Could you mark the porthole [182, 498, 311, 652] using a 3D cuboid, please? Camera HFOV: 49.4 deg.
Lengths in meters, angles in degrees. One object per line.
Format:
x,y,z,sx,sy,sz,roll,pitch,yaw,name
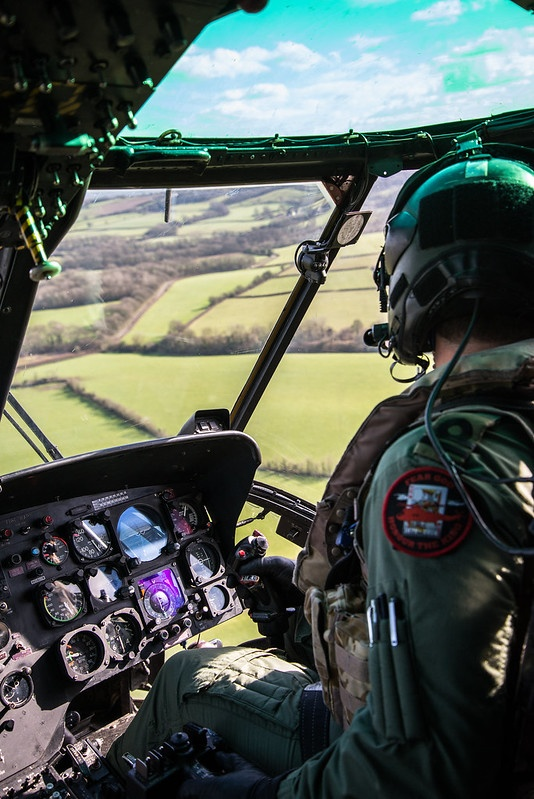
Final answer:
-0.013,1.040,3.261,0.773,0.906,0.594,12,-26,-11,porthole
